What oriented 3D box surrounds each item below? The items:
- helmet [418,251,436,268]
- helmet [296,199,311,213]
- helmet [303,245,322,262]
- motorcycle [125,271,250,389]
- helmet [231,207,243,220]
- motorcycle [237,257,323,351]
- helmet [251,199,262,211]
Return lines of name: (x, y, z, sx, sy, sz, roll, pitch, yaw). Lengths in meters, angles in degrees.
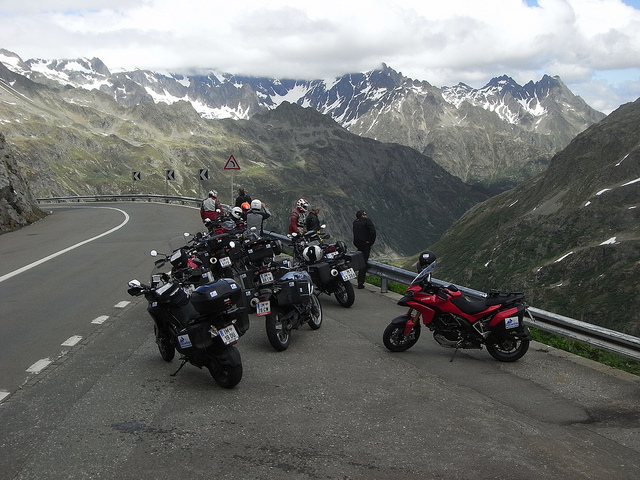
helmet: (2.419, 0.415, 9.460, 0.321, 0.385, 0.367, -7, 51, -1)
helmet: (-0.578, -1.176, 14.418, 0.506, 0.448, 0.377, -2, 11, 1)
helmet: (-0.195, 0.399, 12.340, 0.390, 0.478, 0.493, 33, 0, 26)
motorcycle: (-2.541, 1.600, 8.117, 1.642, 1.900, 3.375, -12, 8, -42)
helmet: (-2.617, -0.828, 13.410, 0.277, 0.427, 0.429, -4, 23, -14)
motorcycle: (-0.913, 1.564, 9.633, 1.437, 1.831, 1.927, 9, 24, 16)
helmet: (-2.228, -1.238, 14.935, 0.348, 0.392, 0.394, 0, 10, 3)
